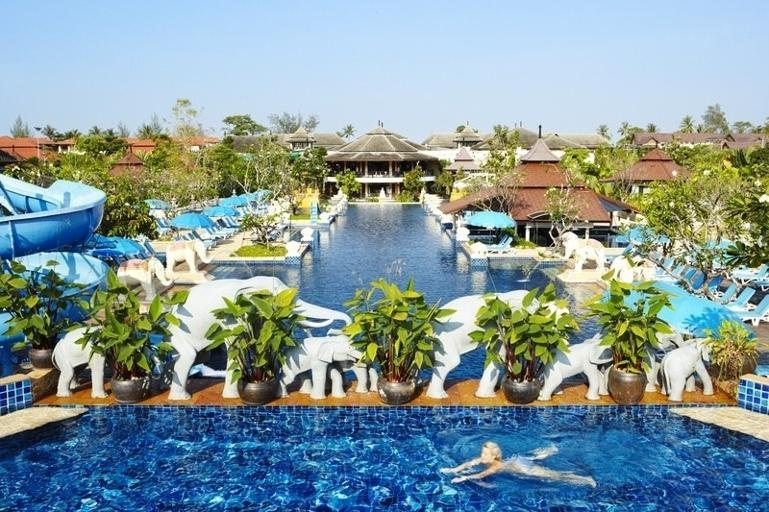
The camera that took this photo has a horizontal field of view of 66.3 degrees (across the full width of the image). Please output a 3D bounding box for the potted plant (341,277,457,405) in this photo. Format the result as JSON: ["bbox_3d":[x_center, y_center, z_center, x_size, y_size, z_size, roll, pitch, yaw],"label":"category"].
[{"bbox_3d":[0.108,1.296,10.590,2.087,2.120,1.975,-1,8,-7],"label":"potted plant"}]

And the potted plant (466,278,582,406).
[{"bbox_3d":[2.327,1.585,10.702,1.934,2.314,2.022,2,1,7],"label":"potted plant"}]

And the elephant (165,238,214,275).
[{"bbox_3d":[-7.292,-0.064,21.050,2.143,1.470,0.971,-2,18,-13],"label":"elephant"}]

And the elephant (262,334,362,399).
[{"bbox_3d":[-1.127,1.895,10.064,1.712,1.169,0.790,-2,7,-5],"label":"elephant"}]

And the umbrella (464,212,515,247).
[{"bbox_3d":[5.059,-1.062,26.980,2.075,1.330,2.118,-15,23,-39],"label":"umbrella"}]

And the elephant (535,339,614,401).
[{"bbox_3d":[3.332,1.976,10.092,1.521,1.032,0.723,-9,16,-3],"label":"elephant"}]

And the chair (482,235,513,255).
[{"bbox_3d":[4.786,-0.320,24.728,1.017,0.560,1.017,-1,6,2],"label":"chair"}]

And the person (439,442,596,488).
[{"bbox_3d":[1.948,3.226,8.929,1.318,0.319,0.890,-2,1,-1],"label":"person"}]

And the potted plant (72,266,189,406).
[{"bbox_3d":[-4.245,1.344,10.636,2.113,2.011,2.125,3,2,3],"label":"potted plant"}]

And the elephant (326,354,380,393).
[{"bbox_3d":[-0.543,2.083,10.329,0.799,0.531,0.650,2,2,-6],"label":"elephant"}]

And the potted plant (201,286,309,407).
[{"bbox_3d":[-2.246,1.572,10.498,1.780,2.082,1.881,0,-1,1],"label":"potted plant"}]
